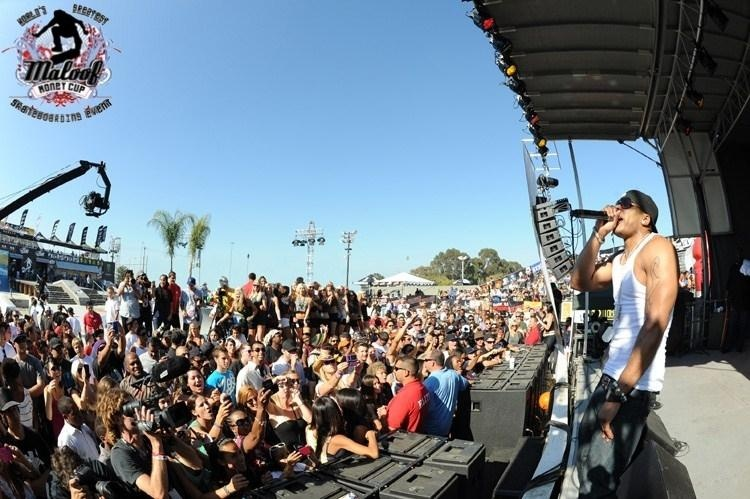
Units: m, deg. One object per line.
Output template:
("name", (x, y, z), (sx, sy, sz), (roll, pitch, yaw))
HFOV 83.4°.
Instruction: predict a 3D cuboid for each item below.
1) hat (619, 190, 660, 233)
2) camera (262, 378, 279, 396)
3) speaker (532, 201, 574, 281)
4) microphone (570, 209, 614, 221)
("hat", (1.854, -0.237, 2.929), (0.262, 0.197, 0.191), (37, 6, 13))
("camera", (-1.235, 1.650, 5.061), (0.231, 0.224, 0.054), (-9, 8, -24))
("speaker", (3.111, -0.163, 7.241), (0.425, 1.492, 1.063), (-8, -14, 5))
("microphone", (1.537, -0.241, 2.922), (0.178, 0.053, 0.187), (4, 20, 6))
